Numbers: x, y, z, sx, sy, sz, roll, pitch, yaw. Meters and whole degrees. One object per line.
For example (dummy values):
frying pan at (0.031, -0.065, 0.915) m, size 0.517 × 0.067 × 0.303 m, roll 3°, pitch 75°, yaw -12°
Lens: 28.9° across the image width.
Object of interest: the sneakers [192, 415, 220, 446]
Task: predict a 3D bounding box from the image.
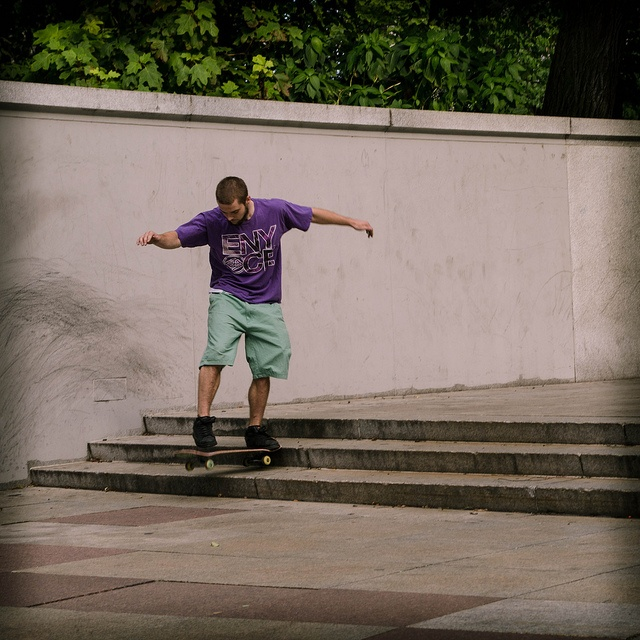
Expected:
sneakers at (-0.810, 0.769, 8.676) m, size 0.142 × 0.222 × 0.245 m, roll 1°, pitch 6°, yaw -8°

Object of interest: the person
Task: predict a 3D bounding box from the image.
person at (-0.579, -0.049, 8.933) m, size 1.165 × 1.959 × 0.540 m, roll -3°, pitch 8°, yaw -38°

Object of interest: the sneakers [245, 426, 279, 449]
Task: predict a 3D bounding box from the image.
sneakers at (-0.430, 0.847, 9.066) m, size 0.243 × 0.176 × 0.132 m, roll 0°, pitch 4°, yaw -6°
